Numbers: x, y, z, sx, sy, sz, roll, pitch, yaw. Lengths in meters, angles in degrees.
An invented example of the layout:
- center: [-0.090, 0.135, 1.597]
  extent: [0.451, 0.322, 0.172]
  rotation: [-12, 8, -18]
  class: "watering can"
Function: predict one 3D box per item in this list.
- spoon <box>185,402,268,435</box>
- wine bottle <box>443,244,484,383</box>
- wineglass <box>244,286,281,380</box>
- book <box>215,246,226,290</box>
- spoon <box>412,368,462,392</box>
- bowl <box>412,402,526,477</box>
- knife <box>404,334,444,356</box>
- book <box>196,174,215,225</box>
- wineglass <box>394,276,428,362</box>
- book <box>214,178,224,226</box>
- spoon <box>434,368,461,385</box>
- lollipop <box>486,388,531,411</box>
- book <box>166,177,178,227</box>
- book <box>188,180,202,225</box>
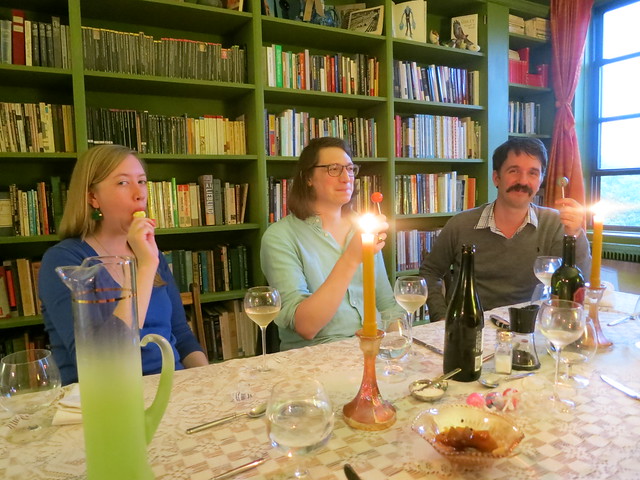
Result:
- center: [-0.252, 0.485, 1.285]
  extent: [0.223, 0.033, 0.032]
  rotation: [-5, 6, -19]
  class: "spoon"
- center: [0.439, 0.217, 1.490]
  extent: [0.119, 0.412, 0.160]
  rotation: [-1, 0, 28]
  class: "wine bottle"
- center: [-0.182, 0.290, 1.546]
  extent: [0.135, 0.284, 0.113]
  rotation: [4, 4, -30]
  class: "wineglass"
- center: [-0.618, 0.173, 2.914]
  extent: [0.044, 0.262, 0.236]
  rotation: [-5, 9, -17]
  class: "book"
- center: [0.353, 0.410, 1.390]
  extent: [0.179, 0.045, 0.050]
  rotation: [-6, 6, -28]
  class: "spoon"
- center: [0.361, 0.437, 1.138]
  extent: [0.179, 0.067, 0.180]
  rotation: [-2, 9, 0]
  class: "bowl"
- center: [0.369, 0.376, 1.711]
  extent: [0.031, 0.006, 0.251]
  rotation: [-24, 16, -14]
  class: "knife"
- center: [-0.707, -0.249, 2.988]
  extent: [0.113, 0.292, 0.320]
  rotation: [-5, 4, -22]
  class: "book"
- center: [0.318, 0.273, 1.697]
  extent: [0.119, 0.278, 0.119]
  rotation: [4, 5, 44]
  class: "wineglass"
- center: [-0.617, -0.219, 2.875]
  extent: [0.054, 0.350, 0.260]
  rotation: [-2, 6, -18]
  class: "book"
- center: [0.387, 0.413, 1.429]
  extent: [0.079, 0.010, 0.008]
  rotation: [-37, -18, 21]
  class: "spoon"
- center: [0.524, 0.446, 1.323]
  extent: [0.110, 0.043, 0.044]
  rotation: [-18, 38, -11]
  class: "lollipop"
- center: [-0.866, -0.209, 2.770]
  extent: [0.041, 0.283, 0.254]
  rotation: [-5, 9, -22]
  class: "book"
- center: [-0.752, -0.213, 2.833]
  extent: [0.088, 0.224, 0.244]
  rotation: [-4, 9, -23]
  class: "book"
